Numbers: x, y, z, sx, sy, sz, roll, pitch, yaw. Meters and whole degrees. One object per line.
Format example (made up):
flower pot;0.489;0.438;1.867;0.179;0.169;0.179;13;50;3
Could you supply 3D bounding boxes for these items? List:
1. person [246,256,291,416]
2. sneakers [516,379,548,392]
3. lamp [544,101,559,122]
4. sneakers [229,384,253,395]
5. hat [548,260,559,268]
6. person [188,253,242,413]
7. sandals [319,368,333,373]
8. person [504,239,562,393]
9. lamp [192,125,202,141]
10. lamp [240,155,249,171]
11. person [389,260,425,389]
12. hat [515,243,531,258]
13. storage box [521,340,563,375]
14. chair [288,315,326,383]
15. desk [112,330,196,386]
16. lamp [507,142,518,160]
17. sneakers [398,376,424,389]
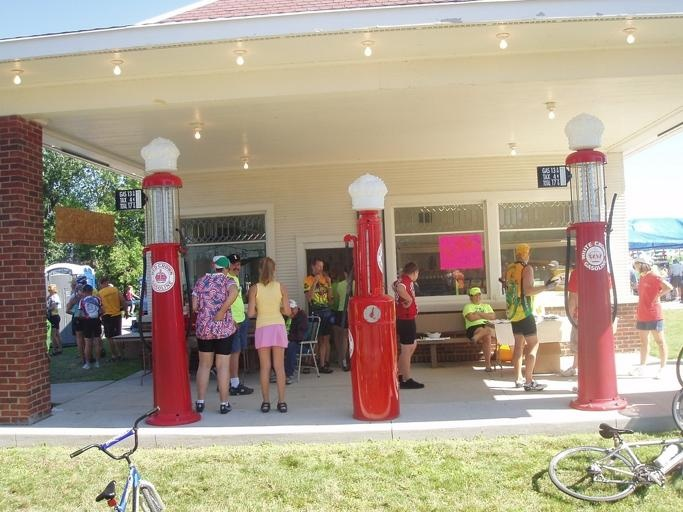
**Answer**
person;-0.970;1.119;10.059;0.555;2.103;0.567;-4;11;-7
sneakers;2.777;1.892;10.680;0.425;0.197;0.157;-2;-1;2
lamp;3.102;-2.154;10.840;0.166;0.258;0.187;-1;-2;3
sneakers;-1.523;2.041;11.226;0.370;0.194;0.139;-1;-4;-10
hat;3.707;0.123;12.772;0.151;0.099;0.221;-5;-17;34
person;-1.747;1.153;10.213;0.685;2.160;0.788;-4;11;-9
sandals;-0.265;1.998;12.743;0.240;0.105;0.078;-1;-6;3
person;2.717;0.883;10.648;0.739;2.104;0.881;0;-4;-17
lamp;-2.242;-1.906;11.359;0.133;0.235;0.148;-1;1;14
lamp;-1.741;-1.706;13.355;0.150;0.164;0.291;2;-28;-3
person;1.023;1.088;11.135;0.423;1.902;0.523;-2;11;3
hat;2.639;-0.077;10.689;0.213;0.247;0.236;-6;8;9
storage box;3.328;1.643;12.068;0.601;0.598;0.632;0;-1;10
chair;-0.582;1.510;12.742;0.735;1.025;0.713;-17;18;-27
desk;-3.007;1.660;11.824;1.062;0.611;0.599;-2;-6;16
lamp;3.060;-1.926;13.068;0.152;0.255;0.177;-2;1;2
sneakers;1.062;1.928;11.165;0.320;0.137;0.171;-2;-5;4
